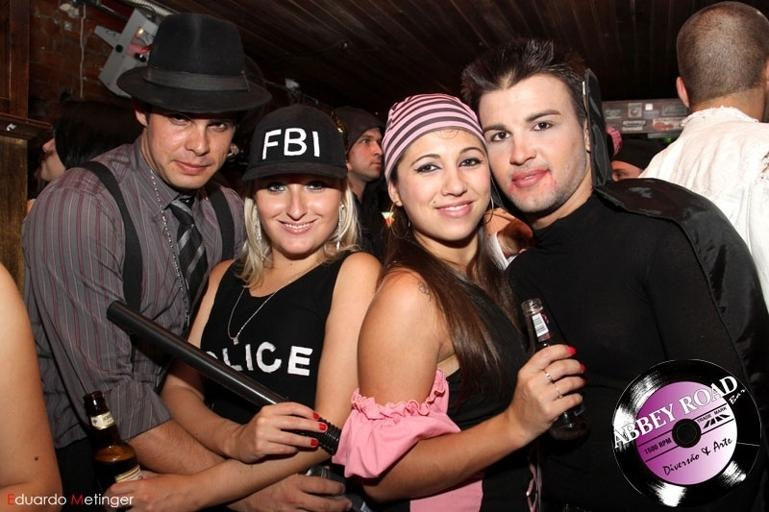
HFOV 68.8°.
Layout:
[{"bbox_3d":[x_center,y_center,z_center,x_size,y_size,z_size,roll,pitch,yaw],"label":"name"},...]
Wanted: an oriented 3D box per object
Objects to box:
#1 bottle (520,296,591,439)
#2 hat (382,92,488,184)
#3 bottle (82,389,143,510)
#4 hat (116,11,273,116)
[{"bbox_3d":[0.785,0.535,2.559,0.264,0.747,0.429,3,6,23],"label":"bottle"},{"bbox_3d":[0.220,-0.680,2.916,0.443,0.328,0.452,-16,17,29],"label":"hat"},{"bbox_3d":[-1.262,0.877,2.628,0.212,0.603,0.307,-2,6,-25],"label":"bottle"},{"bbox_3d":[-1.002,-1.006,3.022,0.675,0.350,0.658,11,20,18],"label":"hat"}]
